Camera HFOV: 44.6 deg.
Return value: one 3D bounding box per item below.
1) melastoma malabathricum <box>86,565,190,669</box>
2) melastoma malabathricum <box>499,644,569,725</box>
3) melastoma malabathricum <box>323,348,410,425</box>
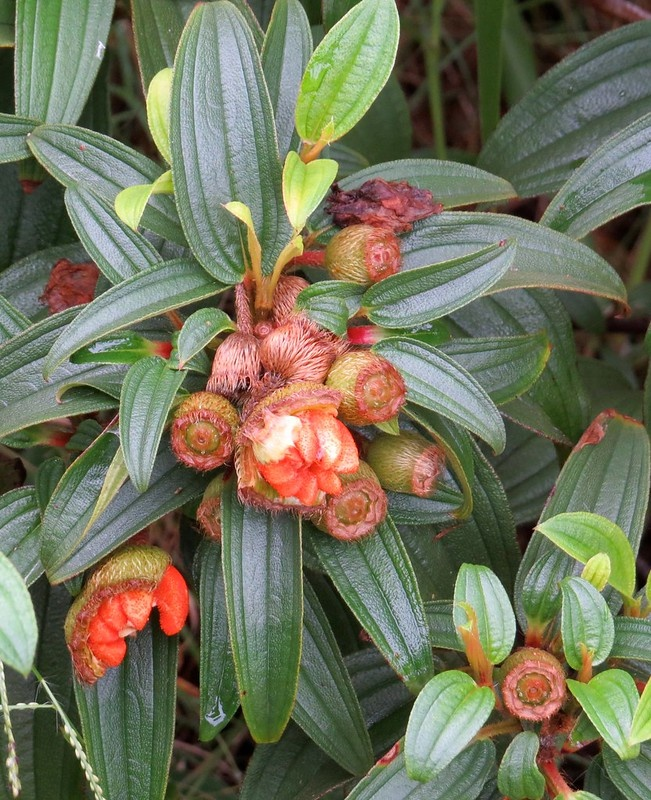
[{"bbox_3d":[-0.234,0.277,0.992,0.119,0.125,0.167,-6,0,-13],"label":"melastoma malabathricum"},{"bbox_3d":[0.245,0.346,0.933,0.077,0.092,0.114,-6,0,12],"label":"melastoma malabathricum"},{"bbox_3d":[0.045,-0.012,0.861,0.131,0.081,0.071,-5,-1,-35],"label":"melastoma malabathricum"}]
